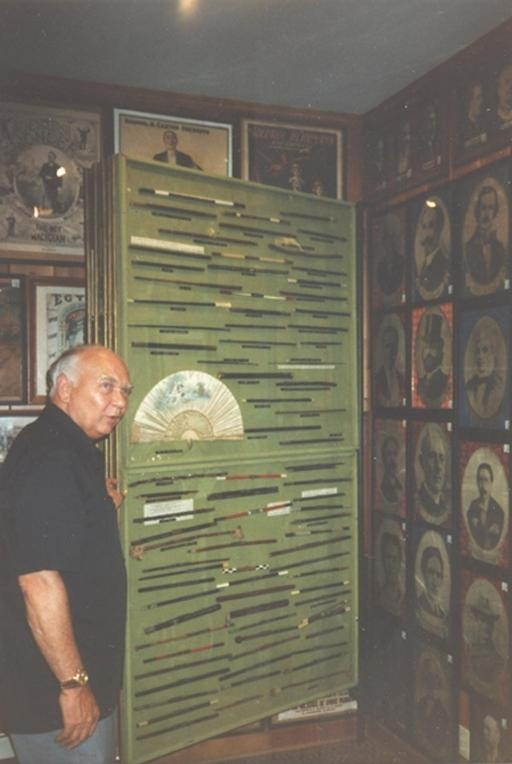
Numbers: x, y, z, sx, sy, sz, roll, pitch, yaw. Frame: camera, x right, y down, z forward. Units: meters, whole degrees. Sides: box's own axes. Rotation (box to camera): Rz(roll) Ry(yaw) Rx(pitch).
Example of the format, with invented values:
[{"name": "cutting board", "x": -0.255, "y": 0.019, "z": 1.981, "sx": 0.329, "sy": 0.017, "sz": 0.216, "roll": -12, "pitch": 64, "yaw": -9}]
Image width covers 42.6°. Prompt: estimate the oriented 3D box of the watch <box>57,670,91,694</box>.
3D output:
[{"name": "watch", "x": -0.492, "y": 0.832, "z": 1.831, "sx": 0.052, "sy": 0.042, "sz": 0.045, "roll": -16, "pitch": 17, "yaw": -17}]
